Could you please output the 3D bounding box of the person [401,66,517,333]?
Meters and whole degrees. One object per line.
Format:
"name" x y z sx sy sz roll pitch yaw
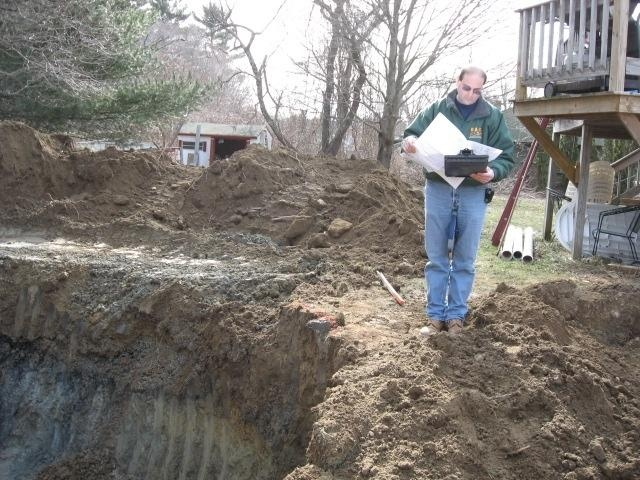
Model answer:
"person" 1.565 -0.387 6.888 1.152 2.911 0.765 3 -4 18

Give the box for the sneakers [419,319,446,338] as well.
"sneakers" 1.306 1.029 7.013 0.129 0.183 0.375 -12 -11 37
